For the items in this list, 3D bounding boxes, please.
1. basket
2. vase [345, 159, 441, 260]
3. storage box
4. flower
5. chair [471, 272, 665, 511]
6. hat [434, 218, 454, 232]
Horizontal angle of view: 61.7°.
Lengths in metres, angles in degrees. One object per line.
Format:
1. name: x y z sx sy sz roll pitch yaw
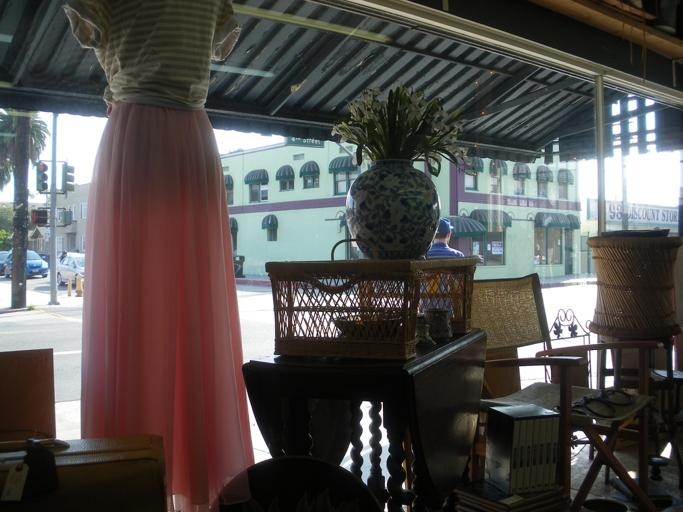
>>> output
1. basket: 1.767 0.188 3.630 0.554 0.668 0.590 0 -5 -1
2. vase: 0.136 -0.117 1.956 0.299 0.388 0.297 2 -15 -4
3. storage box: 0.078 0.155 1.830 0.504 0.250 0.365 0 -3 10
4. flower: 0.189 -0.477 1.957 0.330 0.211 0.353 9 -9 -34
5. chair: 1.037 0.672 2.781 0.796 1.122 1.317 -3 -2 40
6. hat: 0.648 -0.185 3.603 0.167 0.091 0.255 -1 2 7
